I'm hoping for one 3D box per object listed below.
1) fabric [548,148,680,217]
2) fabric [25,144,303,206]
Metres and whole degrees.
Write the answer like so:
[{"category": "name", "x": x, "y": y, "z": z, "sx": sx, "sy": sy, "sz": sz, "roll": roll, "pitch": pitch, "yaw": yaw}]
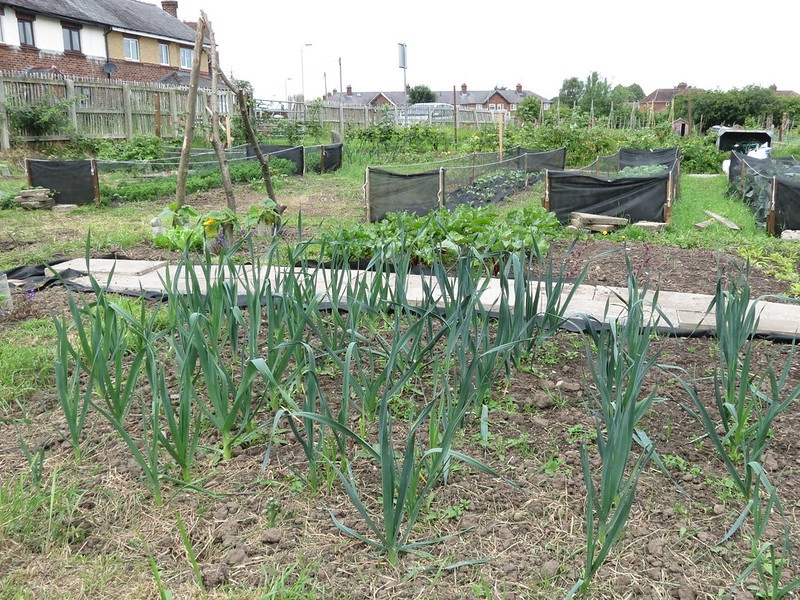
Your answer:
[{"category": "fabric", "x": 3.493, "y": -1.896, "z": 10.967, "sx": 1.568, "sy": 0.936, "sz": 2.982, "roll": 5, "pitch": 30, "yaw": 17}, {"category": "fabric", "x": -3.989, "y": -2.589, "z": 13.425, "sx": 2.005, "sy": 1.067, "sz": 6.590, "roll": 3, "pitch": 19, "yaw": 17}]
